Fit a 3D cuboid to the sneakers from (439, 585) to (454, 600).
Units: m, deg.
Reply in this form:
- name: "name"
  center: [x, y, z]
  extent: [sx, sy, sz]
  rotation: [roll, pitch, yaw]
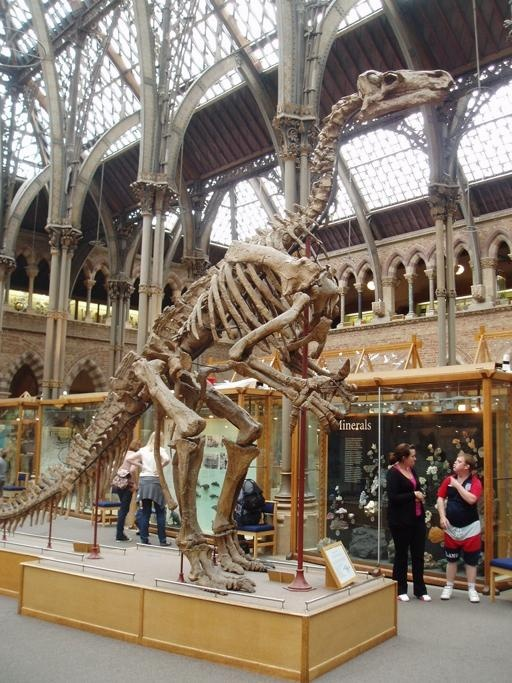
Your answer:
- name: "sneakers"
  center: [1.751, 2.298, 5.152]
  extent: [0.073, 0.085, 0.217]
  rotation: [1, 1, 14]

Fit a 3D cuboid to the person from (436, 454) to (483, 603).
- name: "person"
  center: [1.906, 1.727, 5.264]
  extent: [0.429, 1.321, 0.526]
  rotation: [-6, -7, 20]

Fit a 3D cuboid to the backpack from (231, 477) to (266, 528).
- name: "backpack"
  center: [-0.044, 1.989, 6.978]
  extent: [0.395, 0.519, 0.416]
  rotation: [-2, -16, -10]

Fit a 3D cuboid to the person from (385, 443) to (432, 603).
- name: "person"
  center: [1.366, 1.645, 5.108]
  extent: [0.321, 1.391, 0.398]
  rotation: [-5, -7, 13]

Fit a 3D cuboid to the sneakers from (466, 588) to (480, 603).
- name: "sneakers"
  center: [1.969, 2.292, 5.100]
  extent: [0.070, 0.072, 0.182]
  rotation: [-2, -10, 5]

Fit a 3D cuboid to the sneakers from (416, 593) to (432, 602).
- name: "sneakers"
  center: [1.519, 2.293, 5.061]
  extent: [0.048, 0.047, 0.129]
  rotation: [1, -8, -4]

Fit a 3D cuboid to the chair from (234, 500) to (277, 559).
- name: "chair"
  center: [0.037, 2.355, 7.154]
  extent: [0.488, 0.618, 0.467]
  rotation: [1, -10, -5]
